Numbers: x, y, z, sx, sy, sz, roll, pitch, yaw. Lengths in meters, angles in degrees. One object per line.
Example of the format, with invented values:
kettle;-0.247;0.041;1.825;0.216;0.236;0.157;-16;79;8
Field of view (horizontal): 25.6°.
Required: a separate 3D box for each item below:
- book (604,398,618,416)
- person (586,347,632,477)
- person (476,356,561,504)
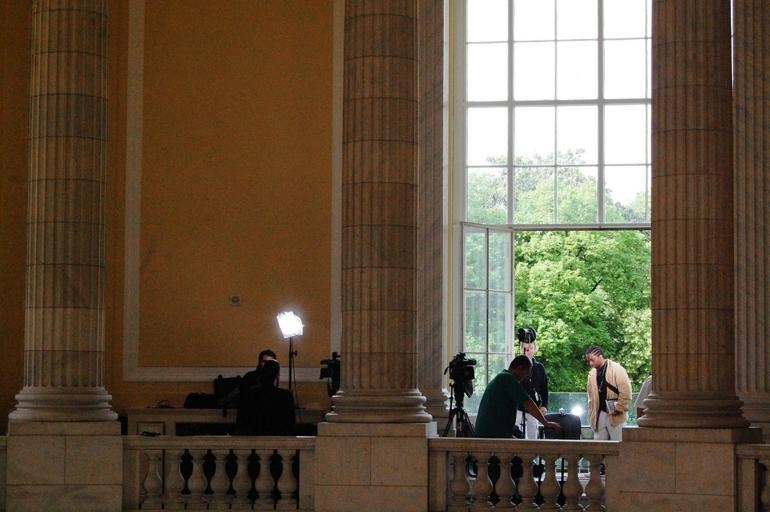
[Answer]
book;2.840;1.859;20.844;0.083;0.186;0.190;3;-8;-26
person;2.832;1.889;21.073;0.521;1.445;0.669;-7;8;-42
person;1.496;1.905;19.043;0.963;1.588;0.847;2;5;9
